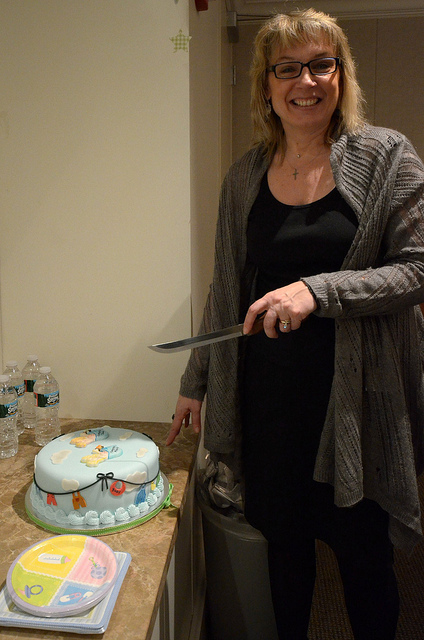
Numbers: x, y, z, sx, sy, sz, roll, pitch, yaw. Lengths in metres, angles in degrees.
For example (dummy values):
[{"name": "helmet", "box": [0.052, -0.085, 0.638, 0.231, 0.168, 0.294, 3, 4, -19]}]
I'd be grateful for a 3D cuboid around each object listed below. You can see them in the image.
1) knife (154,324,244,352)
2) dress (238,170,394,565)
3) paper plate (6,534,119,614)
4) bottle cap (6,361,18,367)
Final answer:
[{"name": "knife", "box": [-0.028, 0.041, 1.293, 0.243, 0.039, 0.027, -10, 33, -19]}, {"name": "dress", "box": [0.176, 0.098, 1.300, 0.378, 0.865, 0.351, 0, 14, 1]}, {"name": "paper plate", "box": [-0.232, 0.398, 0.862, 0.133, 0.021, 0.169, 10, 13, 31]}, {"name": "bottle cap", "box": [-0.529, 0.115, 1.461, 0.027, 0.018, 0.025, 0, 11, -27]}]
